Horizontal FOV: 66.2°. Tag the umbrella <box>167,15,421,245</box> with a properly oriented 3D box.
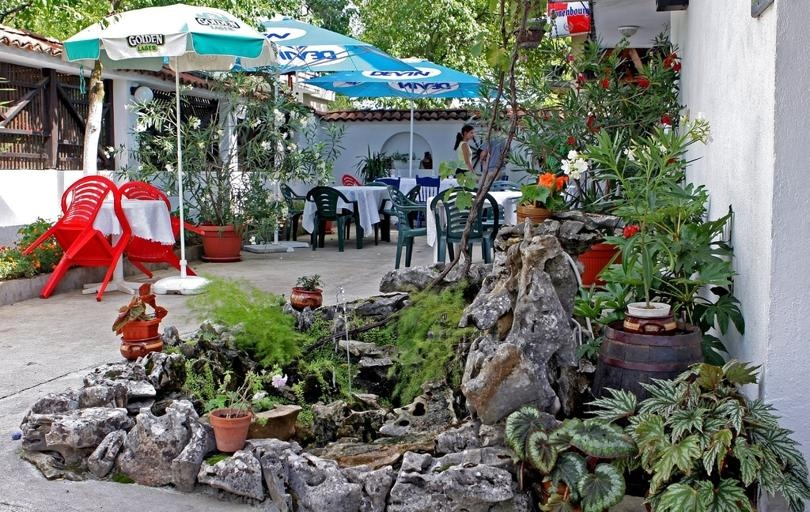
[{"bbox_3d":[-1.569,-1.860,9.134,2.800,2.222,3.159,0,12,2],"label":"umbrella"}]

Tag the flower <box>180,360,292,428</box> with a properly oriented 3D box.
[{"bbox_3d":[-1.066,0.807,3.778,0.366,0.296,0.445,1,1,1],"label":"flower"}]

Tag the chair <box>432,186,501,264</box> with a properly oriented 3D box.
[{"bbox_3d":[0.712,-0.336,7.396,0.770,1.106,0.794,-1,14,4],"label":"chair"}]

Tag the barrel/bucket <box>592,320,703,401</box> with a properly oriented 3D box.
[{"bbox_3d":[1.259,0.484,3.263,0.390,0.412,0.408,0,3,0],"label":"barrel/bucket"}]

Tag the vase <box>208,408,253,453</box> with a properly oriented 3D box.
[{"bbox_3d":[-0.955,0.953,3.424,0.233,0.200,0.248,2,2,-5],"label":"vase"}]

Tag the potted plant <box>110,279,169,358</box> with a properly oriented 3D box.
[{"bbox_3d":[-1.765,0.429,4.312,0.484,0.630,0.410,1,0,-24],"label":"potted plant"}]

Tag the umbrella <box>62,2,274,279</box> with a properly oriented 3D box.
[{"bbox_3d":[-2.566,-1.257,6.976,2.101,2.993,1.783,-4,6,-29],"label":"umbrella"}]

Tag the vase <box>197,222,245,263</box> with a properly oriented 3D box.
[{"bbox_3d":[-2.596,-0.213,8.745,0.511,0.432,0.530,3,4,29],"label":"vase"}]

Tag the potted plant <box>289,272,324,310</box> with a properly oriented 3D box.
[{"bbox_3d":[-0.832,0.305,5.214,0.262,0.291,0.266,5,1,-42],"label":"potted plant"}]
